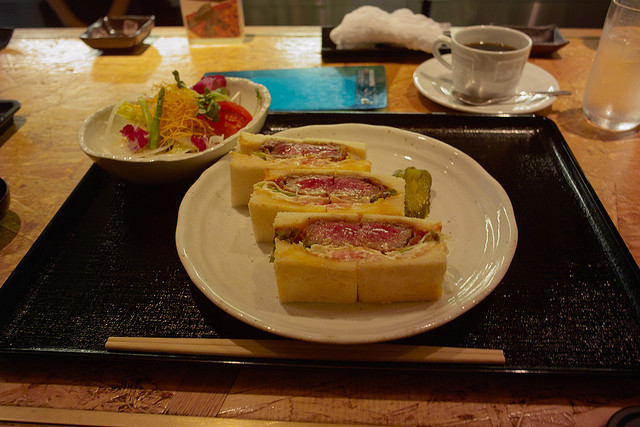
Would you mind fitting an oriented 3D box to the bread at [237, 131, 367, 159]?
[{"bbox_3d":[-0.166,-0.434,2.760,0.619,0.189,0.662,-13,20,-40],"label":"bread"}]

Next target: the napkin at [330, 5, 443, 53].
[{"bbox_3d":[0.454,-1.551,3.966,1.190,0.450,0.584,-9,24,-20],"label":"napkin"}]

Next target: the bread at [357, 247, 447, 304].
[{"bbox_3d":[0.399,0.330,2.251,0.426,0.181,0.147,-3,45,1],"label":"bread"}]

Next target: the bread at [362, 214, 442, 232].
[{"bbox_3d":[0.456,0.043,2.405,0.472,0.107,0.077,7,66,12],"label":"bread"}]

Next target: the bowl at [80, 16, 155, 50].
[{"bbox_3d":[-1.792,-1.623,4.060,0.435,0.128,0.406,-1,51,1],"label":"bowl"}]

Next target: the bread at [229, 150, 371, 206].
[{"bbox_3d":[-0.209,-0.308,2.859,0.807,0.335,0.720,-8,21,-24],"label":"bread"}]

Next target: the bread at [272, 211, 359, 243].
[{"bbox_3d":[-0.056,0.067,2.405,0.483,0.168,0.153,1,43,-1],"label":"bread"}]
